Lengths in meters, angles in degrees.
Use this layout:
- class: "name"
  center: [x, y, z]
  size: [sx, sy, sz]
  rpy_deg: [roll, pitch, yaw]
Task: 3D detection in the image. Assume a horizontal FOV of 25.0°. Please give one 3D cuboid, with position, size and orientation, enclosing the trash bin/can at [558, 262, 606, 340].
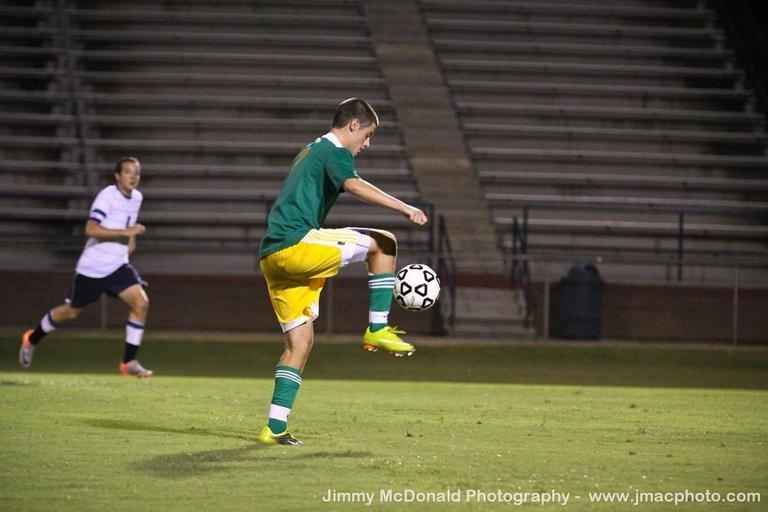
- class: "trash bin/can"
  center: [4.129, 0.958, 36.216]
  size: [0.895, 1.590, 0.365]
  rpy_deg: [4, -3, 3]

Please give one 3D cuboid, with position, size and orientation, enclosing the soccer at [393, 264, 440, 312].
- class: "soccer"
  center: [0.555, 0.544, 30.231]
  size: [0.950, 0.853, 0.905]
  rpy_deg: [1, 9, 1]
